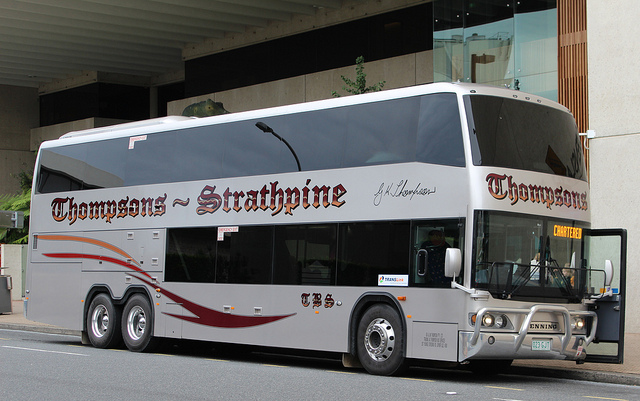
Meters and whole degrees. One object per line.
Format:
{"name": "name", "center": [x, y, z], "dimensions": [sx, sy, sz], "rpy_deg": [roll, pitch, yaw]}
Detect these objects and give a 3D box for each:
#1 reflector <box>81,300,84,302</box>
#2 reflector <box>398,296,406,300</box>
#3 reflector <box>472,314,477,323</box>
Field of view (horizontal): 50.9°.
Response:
{"name": "reflector", "center": [-7.528, 3.188, 21.290], "dimensions": [0.057, 0.056, 0.058], "rpy_deg": [0, -5, 40]}
{"name": "reflector", "center": [1.903, 2.256, 15.512], "dimensions": [0.192, 0.078, 0.032], "rpy_deg": [-2, -5, 26]}
{"name": "reflector", "center": [3.393, 2.563, 14.674], "dimensions": [0.104, 0.167, 0.019], "rpy_deg": [-3, -6, 42]}
